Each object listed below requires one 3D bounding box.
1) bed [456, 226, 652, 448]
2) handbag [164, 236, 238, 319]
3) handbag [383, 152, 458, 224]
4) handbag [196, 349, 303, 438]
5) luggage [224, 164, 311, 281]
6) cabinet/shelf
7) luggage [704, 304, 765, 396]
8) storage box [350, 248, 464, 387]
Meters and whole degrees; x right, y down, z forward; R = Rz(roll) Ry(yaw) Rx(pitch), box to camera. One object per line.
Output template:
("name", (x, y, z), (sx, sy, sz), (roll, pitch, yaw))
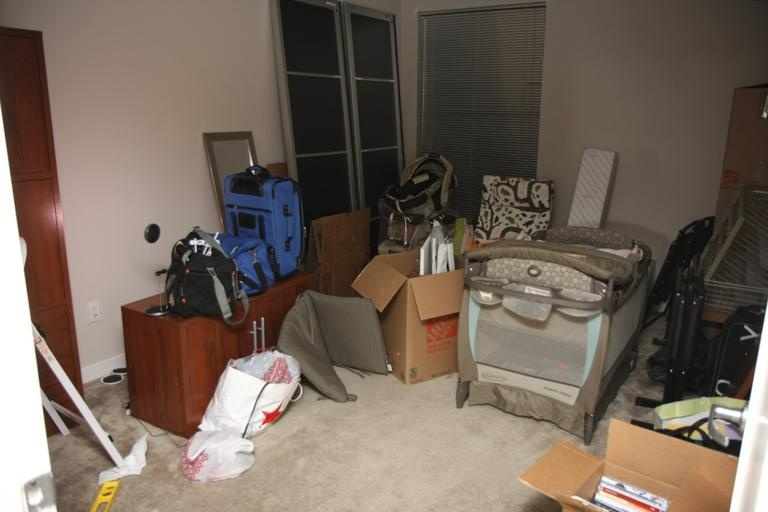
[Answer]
("bed", (1.329, 0.391, 3.933), (1.031, 1.142, 1.618), (8, 15, 33))
("handbag", (-1.181, 0.119, 3.474), (0.529, 0.570, 0.556), (1, 11, -33))
("handbag", (0.364, -0.619, 4.967), (0.712, 0.510, 0.517), (-29, 26, -33))
("handbag", (-0.855, 0.900, 3.430), (0.491, 0.256, 0.693), (26, 27, 29))
("luggage", (-0.911, -0.264, 3.982), (0.534, 0.784, 0.404), (12, 22, 31))
("cabinet/shelf", (-1.137, 0.818, 3.786), (0.794, 1.035, 1.572), (7, 15, 27))
("luggage", (2.232, 0.623, 3.311), (0.203, 0.590, 0.332), (14, 22, 38))
("storage box", (0.208, 0.421, 4.131), (0.895, 0.796, 0.913), (-12, 21, -24))
